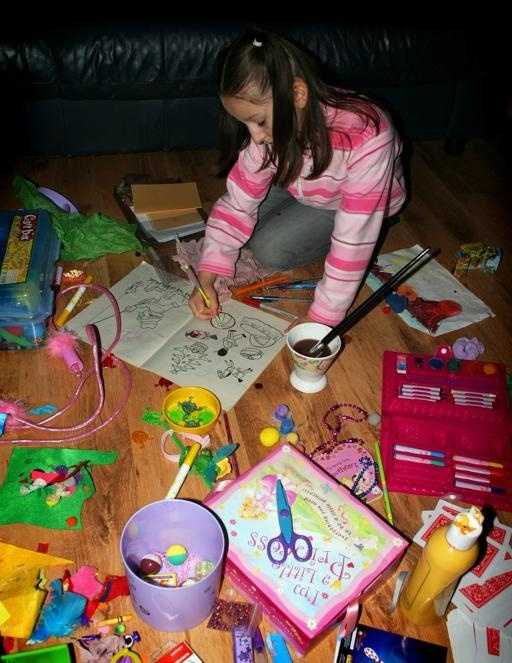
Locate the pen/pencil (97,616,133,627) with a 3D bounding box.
[{"bbox_3d":[-0.183,0.376,0.675,0.044,0.010,0.009,-3,16,-15],"label":"pen/pencil"}]

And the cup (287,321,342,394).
[{"bbox_3d":[0.082,0.044,1.039,0.141,0.136,0.128,-1,46,-1],"label":"cup"}]

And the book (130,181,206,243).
[{"bbox_3d":[-0.254,-0.324,1.465,0.223,0.050,0.200,-9,61,-20],"label":"book"}]

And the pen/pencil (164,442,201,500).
[{"bbox_3d":[-0.113,0.220,0.818,0.027,0.019,0.125,24,86,-15],"label":"pen/pencil"}]

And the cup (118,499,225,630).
[{"bbox_3d":[-0.105,0.292,0.664,0.120,0.155,0.127,4,44,-4],"label":"cup"}]
